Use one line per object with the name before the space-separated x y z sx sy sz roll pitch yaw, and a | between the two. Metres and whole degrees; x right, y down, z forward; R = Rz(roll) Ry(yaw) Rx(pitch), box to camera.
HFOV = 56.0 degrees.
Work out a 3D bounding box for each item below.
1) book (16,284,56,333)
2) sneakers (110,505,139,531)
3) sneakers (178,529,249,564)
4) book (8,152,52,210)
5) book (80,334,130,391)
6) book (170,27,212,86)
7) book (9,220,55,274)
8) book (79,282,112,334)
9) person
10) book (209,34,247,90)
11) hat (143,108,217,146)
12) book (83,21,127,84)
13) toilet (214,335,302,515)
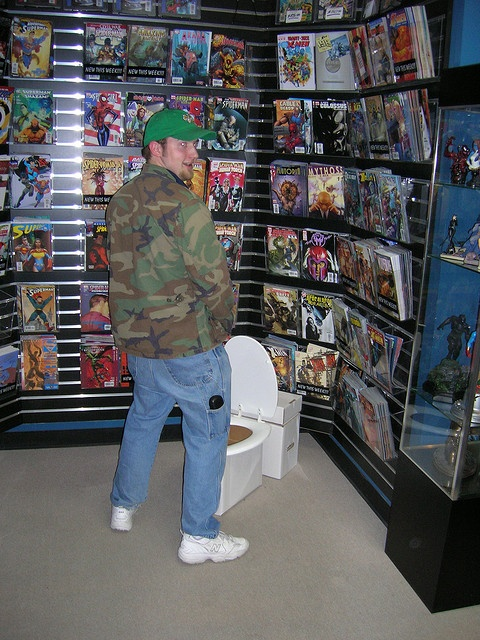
book | -1.153 -0.076 2.524 0.236 0.350 0.047 -2 17 -14
sneakers | -0.511 0.852 1.922 0.055 0.063 0.142 2 8 -2
sneakers | -0.114 0.884 1.811 0.293 0.159 0.111 -1 2 -16
book | -1.114 -0.743 2.369 0.270 0.400 0.041 -3 17 -27
book | -0.788 0.231 2.579 0.325 0.327 0.111 -1 18 -6
book | -0.261 -1.371 2.361 0.217 0.248 0.089 0 7 -10
book | -1.159 -0.431 2.504 0.203 0.288 0.151 0 35 -25
book | -0.826 -0.069 2.610 0.187 0.280 0.029 1 -6 6
person | -0.280 0.190 1.718 0.549 1.502 0.378 5 8 31
book | -0.074 -1.393 2.421 0.263 0.318 0.050 -5 29 -15
hat | -0.233 -0.680 1.643 0.195 0.107 0.132 -10 34 7
book | -0.682 -1.358 2.303 0.231 0.285 0.033 4 2 2
toilet | 0.022 0.488 2.356 0.373 0.798 0.652 8 17 34
